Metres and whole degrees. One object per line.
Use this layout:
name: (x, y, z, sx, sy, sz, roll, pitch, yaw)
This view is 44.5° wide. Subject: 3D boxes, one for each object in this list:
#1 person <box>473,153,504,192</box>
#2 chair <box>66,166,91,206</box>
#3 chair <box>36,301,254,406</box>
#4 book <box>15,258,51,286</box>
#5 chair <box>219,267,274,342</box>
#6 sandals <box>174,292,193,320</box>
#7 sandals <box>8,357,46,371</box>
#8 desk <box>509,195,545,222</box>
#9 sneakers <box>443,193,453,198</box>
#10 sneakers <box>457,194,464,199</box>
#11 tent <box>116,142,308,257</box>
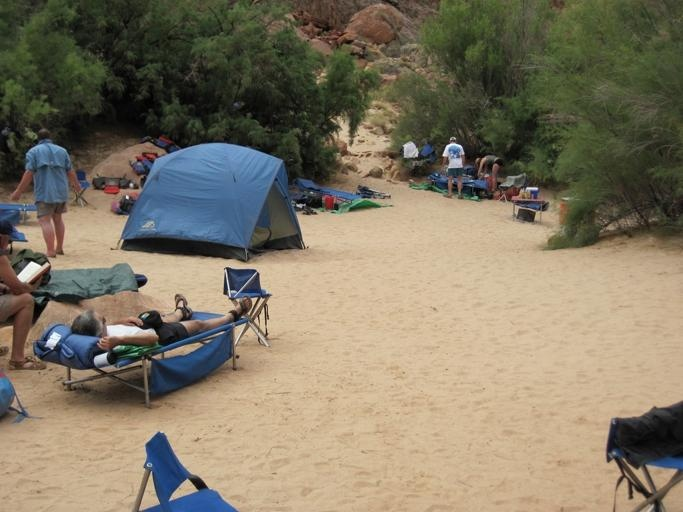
person: (4.612, -2.627, 25.458, 0.768, 0.955, 1.845, -3, 14, -15)
chair: (-6.181, -1.558, 19.841, 0.514, 0.640, 0.453, -2, 4, -21)
chair: (-2.568, 1.362, 10.895, 2.608, 0.864, 1.075, 0, 14, -28)
book: (-4.055, 0.171, 11.065, 0.348, 0.101, 0.337, 9, 38, 31)
chair: (-1.398, 0.709, 12.626, 1.032, 1.368, 1.195, 0, 4, -8)
sandals: (-2.200, 0.706, 11.663, 0.150, 0.174, 0.443, 21, 20, -42)
sandals: (-4.148, 1.444, 11.089, 0.365, 0.117, 0.180, 0, 6, -15)
desk: (4.811, -1.262, 20.873, 0.856, 0.489, 0.801, -2, 13, -5)
sneakers: (3.128, -1.751, 24.189, 0.128, 0.123, 0.306, 0, 11, -24)
sneakers: (3.466, -1.730, 24.038, 0.164, 0.078, 0.239, -14, 10, 36)
tent: (-2.489, -1.106, 16.283, 2.963, 2.090, 1.493, 7, 13, 7)
